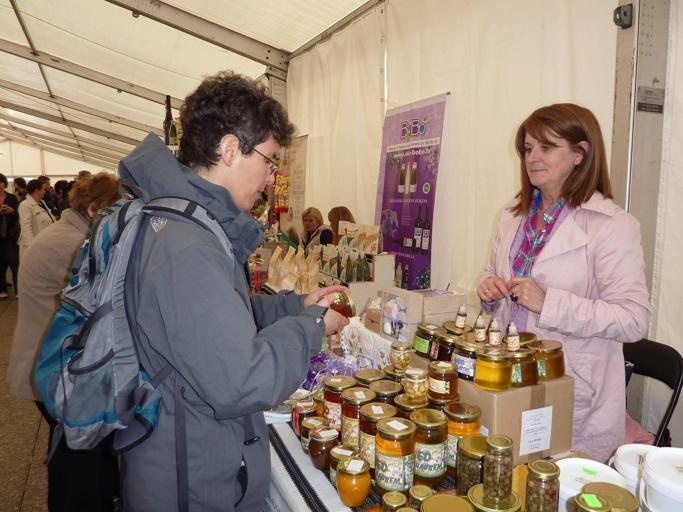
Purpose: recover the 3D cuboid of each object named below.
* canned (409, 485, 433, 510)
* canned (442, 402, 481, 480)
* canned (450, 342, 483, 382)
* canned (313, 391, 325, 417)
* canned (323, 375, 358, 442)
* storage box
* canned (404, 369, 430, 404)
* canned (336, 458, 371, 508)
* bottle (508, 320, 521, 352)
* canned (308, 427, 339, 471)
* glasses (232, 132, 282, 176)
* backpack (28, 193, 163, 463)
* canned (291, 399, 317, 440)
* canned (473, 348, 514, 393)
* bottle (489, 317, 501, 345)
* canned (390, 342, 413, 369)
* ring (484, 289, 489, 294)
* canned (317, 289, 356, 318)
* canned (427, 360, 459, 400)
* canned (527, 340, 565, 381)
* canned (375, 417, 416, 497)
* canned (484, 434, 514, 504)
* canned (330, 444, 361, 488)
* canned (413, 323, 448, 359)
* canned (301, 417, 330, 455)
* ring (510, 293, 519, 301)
[{"bbox_3d":[0.244,0.732,1.510,0.055,0.066,0.054,-4,6,-44],"label":"canned"},{"bbox_3d":[0.411,0.665,1.700,0.103,0.193,0.113,3,-21,-8],"label":"canned"},{"bbox_3d":[0.461,0.386,1.822,0.114,0.128,0.112,2,0,31],"label":"canned"},{"bbox_3d":[-0.102,0.636,2.090,0.066,0.084,0.069,0,1,-26],"label":"canned"},{"bbox_3d":[-0.029,0.570,1.925,0.147,0.287,0.161,3,10,18],"label":"canned"},{"bbox_3d":[0.641,0.505,1.821,0.280,0.230,0.395,1,2,-27],"label":"storage box"},{"bbox_3d":[0.279,0.469,1.760,0.090,0.101,0.083,-1,0,28],"label":"canned"},{"bbox_3d":[0.037,0.751,1.645,0.115,0.168,0.134,-2,-5,0],"label":"canned"},{"bbox_3d":[0.642,0.295,1.818,0.042,0.092,0.109,-1,1,21],"label":"bottle"},{"bbox_3d":[-0.072,0.745,1.847,0.127,0.146,0.131,6,-9,-44],"label":"canned"},{"bbox_3d":[-0.302,-0.366,1.681,0.111,0.036,0.111,43,10,22],"label":"glasses"},{"bbox_3d":[-0.719,0.253,1.738,0.386,0.803,0.541,7,-4,5],"label":"backpack"},{"bbox_3d":[-0.162,0.697,2.111,0.122,0.139,0.136,4,8,6],"label":"canned"},{"bbox_3d":[0.539,0.396,1.752,0.120,0.135,0.128,0,3,-20],"label":"canned"},{"bbox_3d":[0.586,0.293,1.874,0.043,0.090,0.111,-1,1,16],"label":"bottle"},{"bbox_3d":[0.234,0.390,1.924,0.081,0.114,0.089,2,5,12],"label":"canned"},{"bbox_3d":[0.697,0.170,2.341,0.017,0.019,0.018,3,3,0],"label":"ring"},{"bbox_3d":[0.004,0.193,1.975,0.108,0.125,0.107,0,2,0],"label":"canned"},{"bbox_3d":[0.372,0.456,1.796,0.102,0.128,0.108,-5,10,-27],"label":"canned"},{"bbox_3d":[0.794,0.400,1.863,0.160,0.122,0.160,-12,3,-41],"label":"canned"},{"bbox_3d":[0.177,0.682,1.628,0.132,0.257,0.146,0,3,-7],"label":"canned"},{"bbox_3d":[0.472,0.646,1.475,0.083,0.181,0.121,-1,1,19],"label":"canned"},{"bbox_3d":[-0.001,0.718,1.719,0.107,0.133,0.116,2,2,19],"label":"canned"},{"bbox_3d":[0.360,0.346,2.022,0.108,0.119,0.115,1,7,-37],"label":"canned"},{"bbox_3d":[-0.111,0.692,1.918,0.105,0.128,0.116,1,4,-5],"label":"canned"},{"bbox_3d":[0.759,0.179,2.149,0.026,0.044,0.041,-1,1,9],"label":"ring"}]
